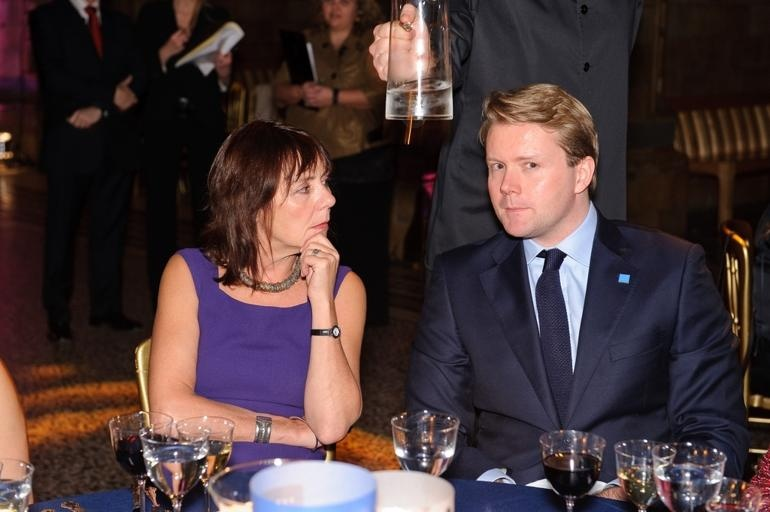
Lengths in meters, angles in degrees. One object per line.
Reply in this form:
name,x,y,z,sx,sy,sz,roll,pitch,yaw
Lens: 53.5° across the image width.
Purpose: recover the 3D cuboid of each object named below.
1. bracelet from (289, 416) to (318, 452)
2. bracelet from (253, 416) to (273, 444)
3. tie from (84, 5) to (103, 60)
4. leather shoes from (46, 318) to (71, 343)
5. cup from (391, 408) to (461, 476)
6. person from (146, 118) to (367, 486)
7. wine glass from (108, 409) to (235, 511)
bracelet,-0.261,0.575,2.484,0.098,0.098,0.027,-46,-17,22
bracelet,-0.389,0.557,2.438,0.075,0.071,0.076,4,-20,-1
tie,-1.579,-1.212,4.124,0.044,0.281,0.040,-8,24,-10
leather shoes,-1.845,0.418,4.312,0.122,0.209,0.114,2,-2,-43
cup,0.103,0.496,1.982,0.203,0.169,0.195,0,-6,0
person,-0.427,0.103,2.527,0.718,1.117,0.360,0,4,-4
wine glass,-0.561,0.469,1.924,0.235,0.298,0.257,1,-5,22
